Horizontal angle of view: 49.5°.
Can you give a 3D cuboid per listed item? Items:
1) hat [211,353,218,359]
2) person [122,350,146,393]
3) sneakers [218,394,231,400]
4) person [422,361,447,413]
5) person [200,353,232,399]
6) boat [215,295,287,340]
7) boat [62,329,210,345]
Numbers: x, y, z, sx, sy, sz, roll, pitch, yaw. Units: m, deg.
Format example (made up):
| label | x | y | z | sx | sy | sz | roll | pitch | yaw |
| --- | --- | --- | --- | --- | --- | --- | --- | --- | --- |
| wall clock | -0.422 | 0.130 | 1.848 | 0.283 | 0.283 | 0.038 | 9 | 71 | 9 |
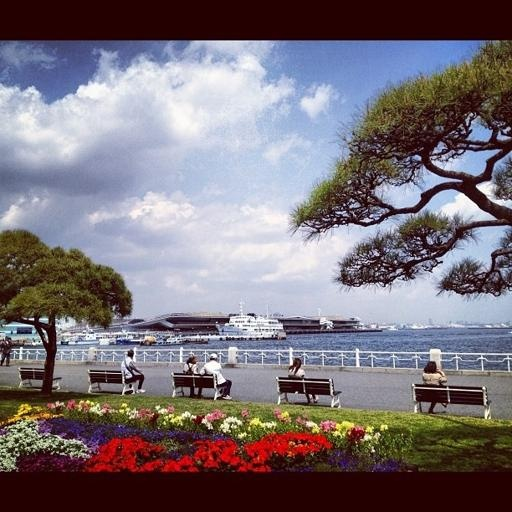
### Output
| label | x | y | z | sx | sy | sz | roll | pitch | yaw |
| --- | --- | --- | --- | --- | --- | --- | --- | --- | --- |
| hat | -1.034 | 2.437 | 13.534 | 0.123 | 0.126 | 0.166 | -1 | -14 | -1 |
| person | -3.403 | 3.229 | 15.502 | 0.606 | 1.204 | 2.795 | 0 | -9 | -12 |
| sneakers | -0.811 | 3.563 | 14.064 | 0.381 | 0.158 | 0.119 | -15 | -16 | 39 |
| person | 3.914 | 2.868 | 12.213 | 0.453 | 1.123 | 1.295 | -5 | -9 | 17 |
| person | -0.976 | 3.054 | 14.155 | 0.724 | 1.160 | 1.673 | -4 | -9 | 12 |
| boat | -1.314 | 15.509 | 122.574 | 14.621 | 6.318 | 8.768 | 0 | -9 | -14 |
| boat | -23.365 | 14.023 | 95.060 | 25.328 | 2.972 | 15.381 | -9 | -11 | 39 |
